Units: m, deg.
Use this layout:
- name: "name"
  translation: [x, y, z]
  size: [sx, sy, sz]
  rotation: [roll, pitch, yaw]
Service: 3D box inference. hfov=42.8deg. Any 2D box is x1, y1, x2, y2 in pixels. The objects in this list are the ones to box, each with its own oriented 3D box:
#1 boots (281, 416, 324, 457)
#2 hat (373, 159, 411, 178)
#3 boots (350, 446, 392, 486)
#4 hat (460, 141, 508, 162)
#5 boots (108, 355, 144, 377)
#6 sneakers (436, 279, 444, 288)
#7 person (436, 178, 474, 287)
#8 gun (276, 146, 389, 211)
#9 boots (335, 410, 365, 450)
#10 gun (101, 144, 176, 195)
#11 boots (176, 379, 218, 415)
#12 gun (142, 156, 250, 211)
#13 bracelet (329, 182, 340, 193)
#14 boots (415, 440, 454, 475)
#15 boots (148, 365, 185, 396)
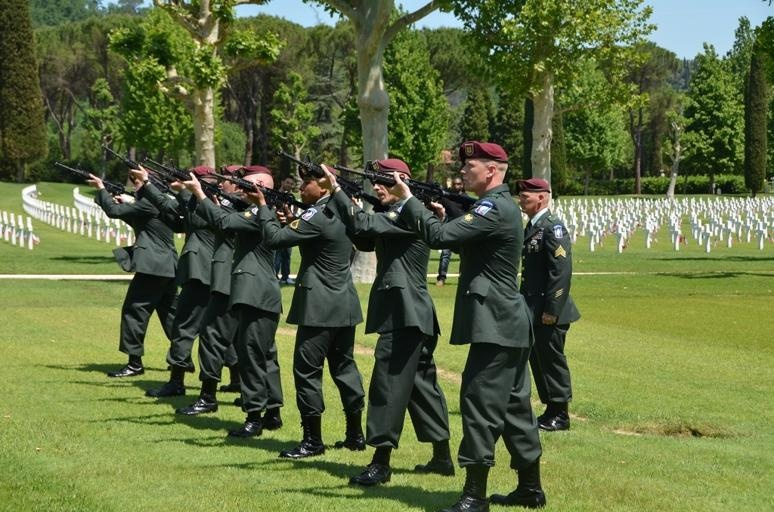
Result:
- name: "boots"
  translation: [-1.348, 2.817, 15.195]
  size: [0.771, 0.654, 0.355]
  rotation: [2, -8, -35]
- name: "hat"
  translation: [0.089, -1.362, 14.818]
  size: [0.424, 0.140, 0.298]
  rotation: [9, -2, -10]
- name: "boots"
  translation: [-0.218, 3.112, 14.599]
  size: [0.664, 0.580, 0.323]
  rotation: [4, -8, -34]
- name: "hat"
  translation: [1.369, -1.521, 14.165]
  size: [0.476, 0.129, 0.392]
  rotation: [4, -3, 5]
- name: "boots"
  translation: [-4.740, 2.046, 18.069]
  size: [0.750, 0.453, 0.273]
  rotation: [4, -7, -13]
- name: "sneakers"
  translation: [1.441, 0.747, 26.979]
  size: [0.227, 0.155, 0.286]
  rotation: [0, -1, 16]
- name: "person"
  translation: [1.919, -0.554, 26.291]
  size: [0.797, 2.864, 1.112]
  rotation: [14, 3, 33]
- name: "gun"
  translation: [-0.728, -1.059, 15.157]
  size: [1.518, 0.442, 0.159]
  rotation: [27, 24, 21]
- name: "boots"
  translation: [-0.569, 2.773, 15.662]
  size: [0.352, 0.642, 0.726]
  rotation: [0, -8, -38]
- name: "gun"
  translation: [-4.335, -1.652, 18.299]
  size: [1.831, 0.524, 0.139]
  rotation: [11, 34, 5]
- name: "boots"
  translation: [-3.226, 2.407, 16.574]
  size: [0.303, 0.534, 0.828]
  rotation: [0, -2, 45]
- name: "gun"
  translation: [-3.418, -1.312, 16.872]
  size: [2.116, 0.723, 0.266]
  rotation: [24, -9, 19]
- name: "bracelet"
  translation: [-0.804, -1.040, 14.802]
  size: [0.148, 0.067, 0.188]
  rotation: [-1, 11, 9]
- name: "boots"
  translation: [0.715, 3.091, 15.004]
  size: [0.716, 0.525, 0.265]
  rotation: [-6, -7, 35]
- name: "boots"
  translation: [-3.795, 2.244, 17.240]
  size: [0.833, 0.543, 0.339]
  rotation: [4, -5, -6]
